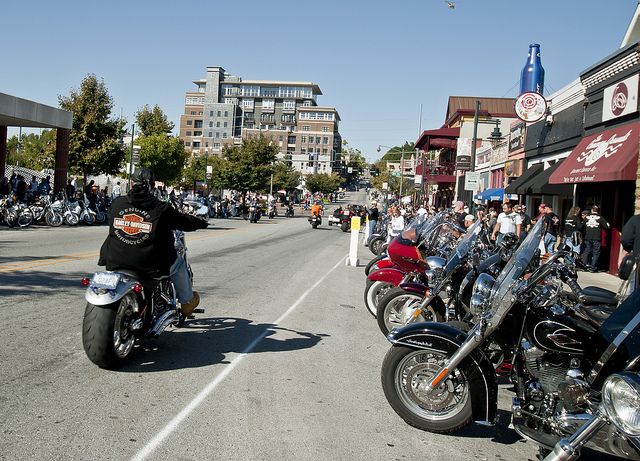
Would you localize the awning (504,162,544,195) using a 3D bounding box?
[{"bbox_3d":[10.682,-2.658,25.780,0.379,1.515,1.636,15,0,-20],"label":"awning"}]

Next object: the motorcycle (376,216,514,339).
[{"bbox_3d":[1.706,0.833,7.197,2.154,1.526,1.272,4,2,0],"label":"motorcycle"}]

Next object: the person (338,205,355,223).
[{"bbox_3d":[1.893,-1.297,37.472,0.837,0.988,1.708,6,-6,4],"label":"person"}]

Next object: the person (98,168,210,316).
[{"bbox_3d":[-2.056,0.142,6.834,1.121,1.174,1.759,0,-5,7],"label":"person"}]

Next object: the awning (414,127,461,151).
[{"bbox_3d":[14.062,-10.774,60.202,3.715,2.502,10.563,4,4,4],"label":"awning"}]

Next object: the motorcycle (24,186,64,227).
[{"bbox_3d":[-13.446,-1.077,23.581,2.580,1.637,1.107,9,6,2],"label":"motorcycle"}]

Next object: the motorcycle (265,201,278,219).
[{"bbox_3d":[-4.852,-2.002,49.432,0.772,1.670,1.330,3,5,-1],"label":"motorcycle"}]

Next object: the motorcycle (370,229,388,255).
[{"bbox_3d":[2.310,0.503,19.699,0.797,0.855,0.243,8,2,-43],"label":"motorcycle"}]

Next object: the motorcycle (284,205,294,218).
[{"bbox_3d":[-3.484,-2.035,54.778,0.515,1.170,1.393,3,5,-6],"label":"motorcycle"}]

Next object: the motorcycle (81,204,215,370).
[{"bbox_3d":[-2.602,0.799,6.862,1.174,1.553,2.202,2,8,20],"label":"motorcycle"}]

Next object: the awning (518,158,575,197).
[{"bbox_3d":[10.851,-2.255,22.312,1.540,1.417,2.620,2,8,-4],"label":"awning"}]

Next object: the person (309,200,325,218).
[{"bbox_3d":[-0.309,-1.576,37.529,0.825,0.909,1.405,1,10,3],"label":"person"}]

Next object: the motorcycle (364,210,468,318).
[{"bbox_3d":[1.504,0.498,8.876,2.193,1.550,1.411,1,5,-3],"label":"motorcycle"}]
